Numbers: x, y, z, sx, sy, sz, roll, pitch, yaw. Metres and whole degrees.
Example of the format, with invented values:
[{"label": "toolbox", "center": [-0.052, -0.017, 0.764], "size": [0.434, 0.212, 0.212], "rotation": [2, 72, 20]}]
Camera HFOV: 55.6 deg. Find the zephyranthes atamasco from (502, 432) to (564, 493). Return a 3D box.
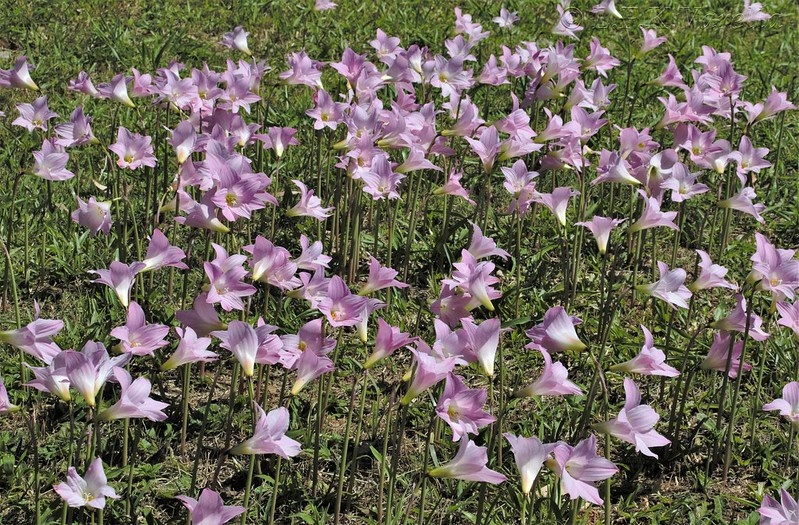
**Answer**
[{"label": "zephyranthes atamasco", "center": [0.571, 0.914, 3.313], "size": [0.196, 0.216, 0.225], "rotation": [37, 48, -12]}]
